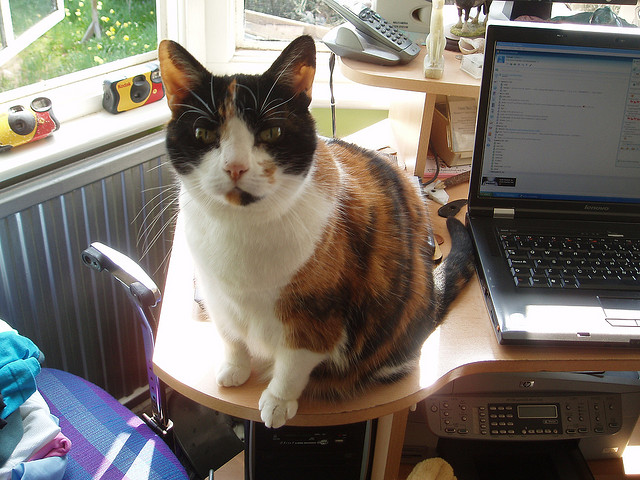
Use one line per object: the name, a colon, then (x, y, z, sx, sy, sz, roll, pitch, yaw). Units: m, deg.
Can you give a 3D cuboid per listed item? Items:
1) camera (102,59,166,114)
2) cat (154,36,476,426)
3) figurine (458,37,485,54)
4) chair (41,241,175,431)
camera: (-0.557, -0.465, 1.512, 0.064, 0.111, 0.182, 39, 49, 20)
cat: (0.066, -0.064, 1.124, 0.427, 0.651, 0.872, 8, 16, 37)
figurine: (0.388, -0.503, 1.287, 0.058, 0.026, 0.047, -30, 47, -17)
chair: (-0.551, 0.229, 1.277, 0.280, 0.388, 0.274, -20, 59, -35)
